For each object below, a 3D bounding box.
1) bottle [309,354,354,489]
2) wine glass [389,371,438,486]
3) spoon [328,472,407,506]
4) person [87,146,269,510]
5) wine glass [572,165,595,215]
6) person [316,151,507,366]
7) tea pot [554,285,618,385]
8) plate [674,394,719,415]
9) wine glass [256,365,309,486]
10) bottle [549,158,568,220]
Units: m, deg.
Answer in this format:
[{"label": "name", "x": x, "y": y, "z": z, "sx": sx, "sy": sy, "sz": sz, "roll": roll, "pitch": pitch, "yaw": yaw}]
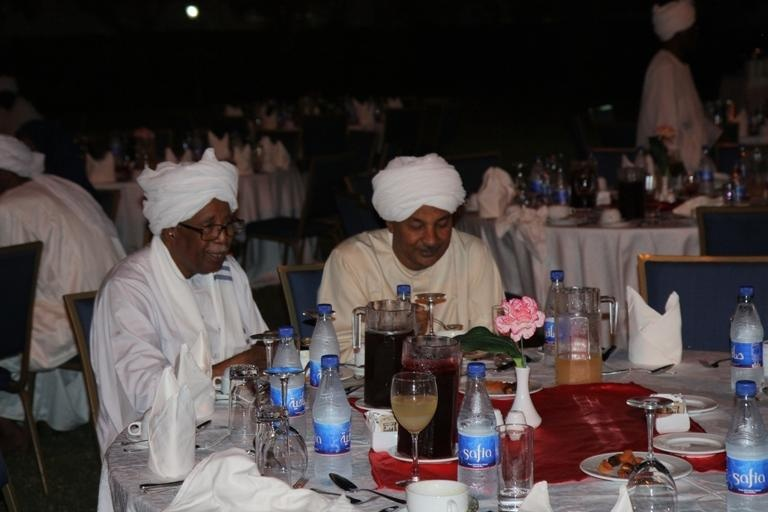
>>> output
[{"label": "bottle", "x": -0.159, "y": 0.472, "z": 2.004, "sx": 0.116, "sy": 0.354, "sz": 0.176, "roll": -3, "pitch": -3, "yaw": -5}, {"label": "wine glass", "x": 0.095, "y": 0.483, "z": 1.939, "sx": 0.128, "sy": 0.306, "sz": 0.205, "roll": -4, "pitch": -4, "yaw": 4}, {"label": "spoon", "x": -0.055, "y": 0.636, "z": 1.853, "sx": 0.245, "sy": 0.063, "sz": 0.055, "roll": -7, "pitch": -6, "yaw": 35}, {"label": "person", "x": -0.837, "y": 0.160, "z": 2.850, "sx": 0.758, "sy": 1.298, "sz": 0.948, "roll": -2, "pitch": -4, "yaw": -23}, {"label": "wine glass", "x": 1.593, "y": -0.557, "z": 5.465, "sx": 0.228, "sy": 0.369, "sz": 0.219, "roll": 0, "pitch": -1, "yaw": -10}, {"label": "person", "x": 0.145, "y": 0.165, "z": 3.271, "sx": 0.892, "sy": 1.172, "sz": 0.722, "roll": -3, "pitch": 18, "yaw": -8}, {"label": "tea pot", "x": 0.787, "y": 0.302, "z": 2.650, "sx": 0.241, "sy": 0.369, "sz": 0.392, "roll": -5, "pitch": -5, "yaw": 18}, {"label": "plate", "x": 1.094, "y": 0.512, "z": 2.343, "sx": 0.109, "sy": 0.046, "sz": 0.196, "roll": -6, "pitch": -6, "yaw": 25}, {"label": "wine glass", "x": -0.300, "y": 0.497, "z": 1.980, "sx": 0.138, "sy": 0.317, "sz": 0.326, "roll": -3, "pitch": -4, "yaw": -8}, {"label": "bottle", "x": 1.384, "y": -0.507, "z": 5.309, "sx": 0.141, "sy": 0.446, "sz": 0.136, "roll": 0, "pitch": 9, "yaw": 0}]
